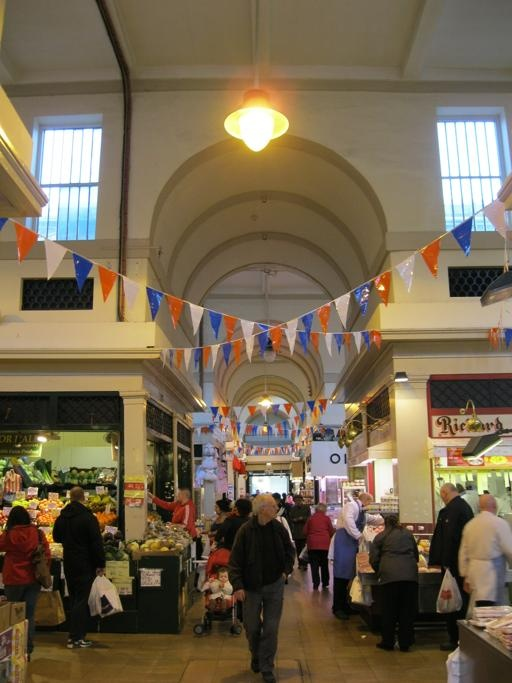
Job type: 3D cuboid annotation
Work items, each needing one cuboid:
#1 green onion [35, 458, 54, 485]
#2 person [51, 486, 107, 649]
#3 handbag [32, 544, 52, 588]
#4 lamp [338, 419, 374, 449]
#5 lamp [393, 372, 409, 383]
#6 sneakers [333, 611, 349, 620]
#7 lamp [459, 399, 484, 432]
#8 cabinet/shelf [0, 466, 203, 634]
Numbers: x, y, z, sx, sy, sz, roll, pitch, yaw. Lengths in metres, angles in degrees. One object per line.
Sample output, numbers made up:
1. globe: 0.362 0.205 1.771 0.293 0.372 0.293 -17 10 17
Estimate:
1. green onion: -3.331 2.041 8.100 0.307 0.180 0.575 9 18 -29
2. person: -1.620 2.042 4.688 0.452 1.399 0.338 4 -14 -21
3. handbag: -1.756 1.859 4.321 0.143 0.336 0.216 -2 -13 2
4. lamp: 1.967 1.820 10.438 0.804 0.610 0.839 -6 0 8
5. lamp: 2.009 0.490 7.128 0.157 0.104 0.164 -3 -2 6
6. sneakers: 0.987 3.197 6.060 0.066 0.062 0.147 4 -22 -11
7. lamp: 2.880 0.989 6.953 0.236 0.439 0.925 -6 -14 21
8. cabinet/shelf: -1.512 2.003 5.912 1.377 0.922 2.062 -1 -6 2
